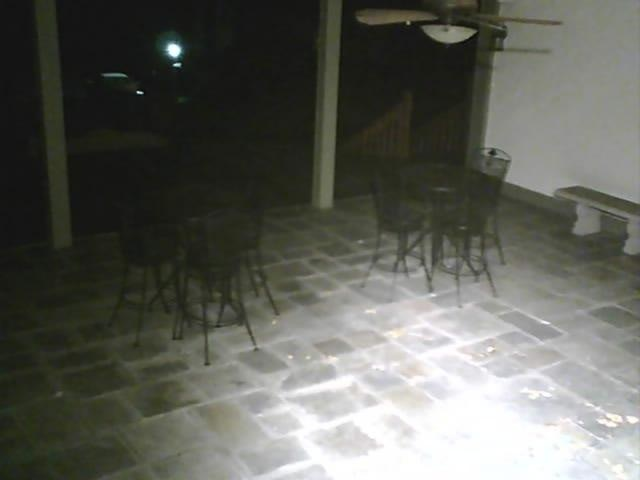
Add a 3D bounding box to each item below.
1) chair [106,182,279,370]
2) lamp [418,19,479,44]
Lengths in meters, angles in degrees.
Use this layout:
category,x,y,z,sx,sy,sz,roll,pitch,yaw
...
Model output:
category,x,y,z,sx,sy,sz,roll,pitch,yaw
chair,-1.291,0.269,5.650,1.640,1.286,1.662,0,28,-4
lamp,1.048,-1.680,4.388,0.524,0.199,0.533,9,31,12
